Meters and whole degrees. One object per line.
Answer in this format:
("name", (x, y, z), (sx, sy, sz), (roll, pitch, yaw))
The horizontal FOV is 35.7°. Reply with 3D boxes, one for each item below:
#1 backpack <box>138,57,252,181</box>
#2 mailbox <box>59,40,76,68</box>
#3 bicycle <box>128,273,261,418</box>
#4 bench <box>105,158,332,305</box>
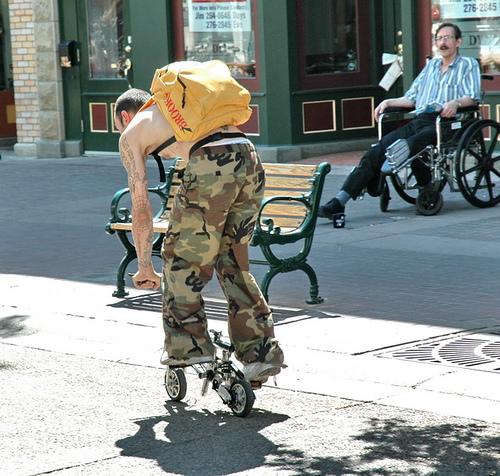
("backpack", (-0.210, -0.581, 3.547), (0.598, 0.510, 0.458), (-4, 24, 5))
("mailbox", (-3.695, -3.698, 15.529), (0.377, 0.548, 0.247), (-4, 12, 2))
("bicycle", (-0.165, 0.611, 3.804), (0.428, 0.392, 0.909), (-2, 2, -42))
("bench", (-0.317, -0.054, 6.250), (0.907, 0.877, 1.913), (-13, 11, -40))
